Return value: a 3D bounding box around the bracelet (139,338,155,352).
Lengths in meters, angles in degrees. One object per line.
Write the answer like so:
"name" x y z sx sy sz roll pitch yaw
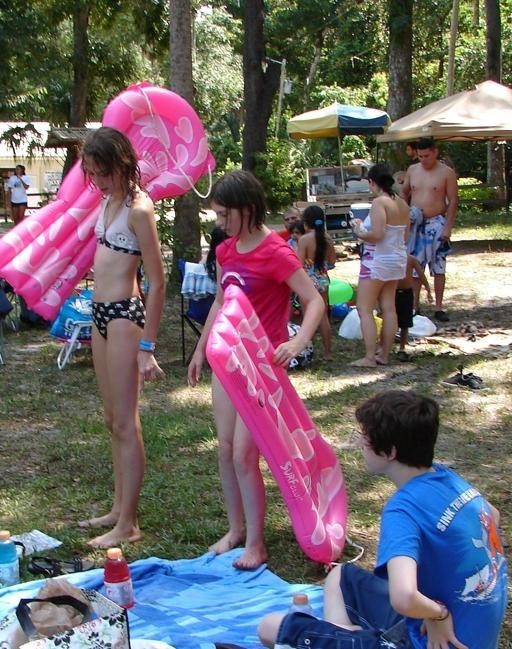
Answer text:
"bracelet" -0.500 0.099 3.017 0.066 0.038 0.061 11 7 -23

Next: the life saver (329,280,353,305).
"life saver" 1.173 -0.459 9.133 0.378 0.146 0.371 -16 42 -17

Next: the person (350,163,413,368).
"person" 1.225 -0.569 6.534 0.595 2.018 0.492 -2 10 12

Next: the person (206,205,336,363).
"person" 0.013 -0.172 2.816 0.555 0.690 0.401 -1 10 14

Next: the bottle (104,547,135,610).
"bottle" -0.518 0.972 2.471 0.103 0.220 0.095 -10 -1 0

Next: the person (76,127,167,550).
"person" -0.635 0.078 3.122 0.446 1.982 0.372 -3 10 3

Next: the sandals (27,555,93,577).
"sandals" -0.867 1.059 2.849 0.235 0.065 0.117 -4 5 -1
